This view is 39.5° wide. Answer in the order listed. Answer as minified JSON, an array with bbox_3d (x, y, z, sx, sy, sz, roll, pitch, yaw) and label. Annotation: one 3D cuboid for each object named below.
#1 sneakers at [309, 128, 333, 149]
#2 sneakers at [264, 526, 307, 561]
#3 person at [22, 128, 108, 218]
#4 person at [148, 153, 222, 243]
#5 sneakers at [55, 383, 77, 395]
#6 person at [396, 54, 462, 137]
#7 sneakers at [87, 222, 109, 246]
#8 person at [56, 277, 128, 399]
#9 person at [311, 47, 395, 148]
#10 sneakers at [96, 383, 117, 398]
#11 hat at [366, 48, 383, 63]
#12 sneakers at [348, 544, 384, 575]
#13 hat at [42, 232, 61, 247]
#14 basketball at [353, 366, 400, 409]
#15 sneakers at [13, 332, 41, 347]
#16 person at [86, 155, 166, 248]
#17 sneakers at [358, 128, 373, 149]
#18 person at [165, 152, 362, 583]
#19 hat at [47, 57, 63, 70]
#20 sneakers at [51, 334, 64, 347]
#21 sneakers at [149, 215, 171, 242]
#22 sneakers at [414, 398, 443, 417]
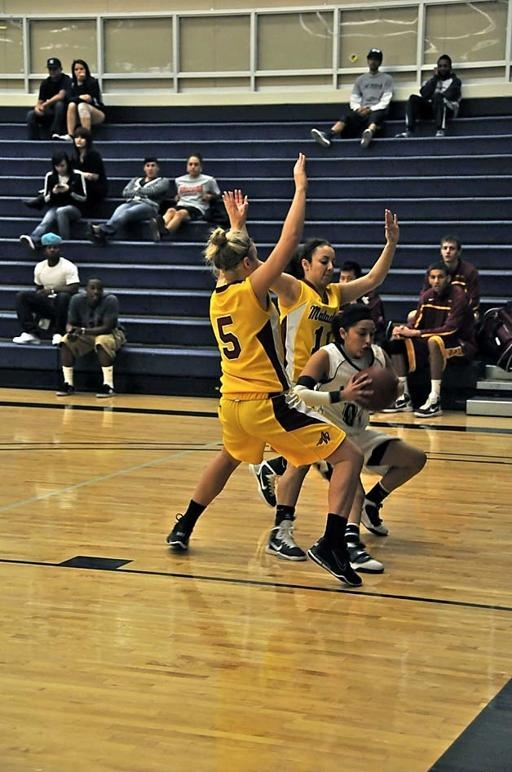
[{"bbox_3d":[0.861,-3.215,9.231,0.262,0.202,0.223,0,2,6],"label":"sneakers"},{"bbox_3d":[0.111,0.614,2.799,0.202,0.117,0.082,3,-2,45],"label":"sneakers"},{"bbox_3d":[-2.458,-2.774,8.960,1.148,1.119,0.729,-5,33,-34],"label":"person"},{"bbox_3d":[-0.901,-2.285,8.488,0.606,0.825,1.131,11,30,20],"label":"person"},{"bbox_3d":[-1.961,0.040,7.279,0.097,0.100,0.230,1,-1,4],"label":"sneakers"},{"bbox_3d":[2.268,-3.731,9.202,0.788,1.186,0.683,0,2,12],"label":"person"},{"bbox_3d":[-1.865,-1.796,8.371,0.244,0.224,0.161,-1,2,-22],"label":"sneakers"},{"bbox_3d":[-1.697,-0.485,7.244,0.656,1.160,0.464,0,2,1],"label":"person"},{"bbox_3d":[1.347,-3.833,9.387,0.766,0.979,1.346,9,36,26],"label":"person"},{"bbox_3d":[-1.521,0.055,7.149,0.091,0.089,0.234,-1,-5,4],"label":"sneakers"},{"bbox_3d":[1.654,-4.580,9.915,0.252,0.163,0.314,2,-6,4],"label":"hat"},{"bbox_3d":[0.398,0.648,2.682,0.068,0.080,0.200,0,1,-38],"label":"sneakers"},{"bbox_3d":[-2.245,-1.596,7.757,0.232,0.147,0.217,-1,9,-17],"label":"hat"},{"bbox_3d":[0.431,0.001,2.550,0.159,0.173,0.152,-7,8,3],"label":"basketball"},{"bbox_3d":[-2.468,-0.504,7.635,0.241,0.092,0.134,4,2,-3],"label":"sneakers"},{"bbox_3d":[-1.584,-2.245,8.606,0.480,0.661,1.248,17,41,31],"label":"person"},{"bbox_3d":[1.407,-3.158,9.071,0.125,0.105,0.255,13,-32,10],"label":"sneakers"},{"bbox_3d":[0.017,-0.091,2.566,0.505,1.549,0.684,-2,3,-37],"label":"person"},{"bbox_3d":[-3.059,-4.885,10.764,0.227,0.162,0.306,2,18,5],"label":"hat"},{"bbox_3d":[-2.027,-0.480,7.230,0.091,0.105,0.262,2,0,-8],"label":"sneakers"},{"bbox_3d":[-1.145,-1.797,8.372,0.156,0.424,0.178,-3,14,9],"label":"sneakers"},{"bbox_3d":[1.522,0.203,6.229,0.294,0.164,0.107,0,1,-9],"label":"sneakers"}]
